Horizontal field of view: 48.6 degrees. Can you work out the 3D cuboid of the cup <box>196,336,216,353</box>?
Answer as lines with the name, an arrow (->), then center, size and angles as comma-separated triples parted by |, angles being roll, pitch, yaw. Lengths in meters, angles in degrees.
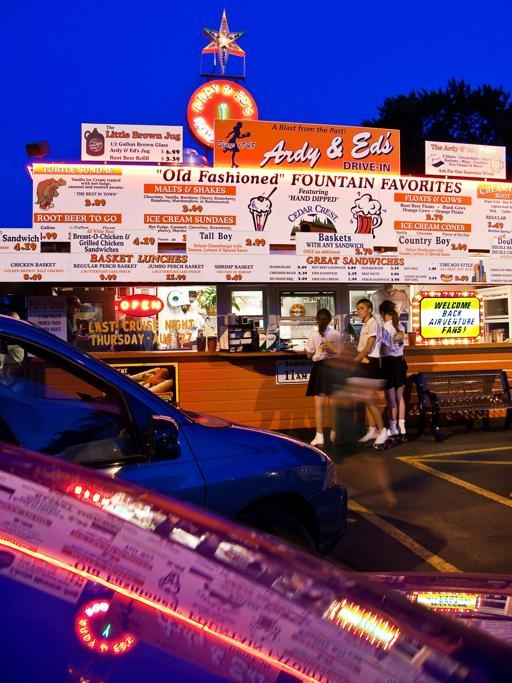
cup -> -0.769, 0.056, 8.921 | 0.316, 0.252, 0.227 | 1, -7, -14

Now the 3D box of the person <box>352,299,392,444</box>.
person -> 1.668, 0.448, 8.205 | 0.410, 2.106, 1.100 | -2, -1, 12
